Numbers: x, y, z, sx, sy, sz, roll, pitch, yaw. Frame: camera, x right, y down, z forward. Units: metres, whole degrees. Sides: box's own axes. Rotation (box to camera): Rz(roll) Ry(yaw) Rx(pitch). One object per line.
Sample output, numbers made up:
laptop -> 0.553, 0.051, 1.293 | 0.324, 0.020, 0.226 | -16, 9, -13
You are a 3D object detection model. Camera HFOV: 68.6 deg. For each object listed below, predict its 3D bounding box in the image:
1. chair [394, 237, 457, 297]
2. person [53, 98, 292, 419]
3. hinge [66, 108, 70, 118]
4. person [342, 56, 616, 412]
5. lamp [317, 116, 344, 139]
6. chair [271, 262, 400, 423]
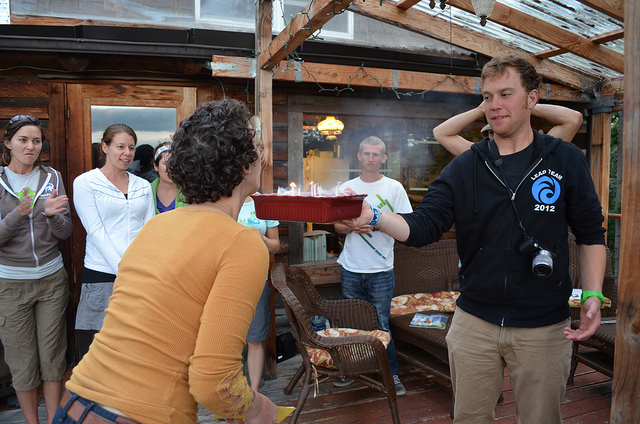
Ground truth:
chair -> 1.290, 0.658, 6.025 | 0.877, 1.056, 0.903 | -2, 0, 16
person -> -0.671, 0.246, 2.264 | 1.019, 1.585, 0.413 | -2, 6, -5
hinge -> -2.692, -1.036, 4.987 | 0.030, 0.080, 0.012 | -4, 7, -27
person -> 1.135, 0.149, 2.989 | 1.201, 2.258, 0.622 | 2, 7, 27
lamp -> 0.173, -1.347, 7.491 | 0.255, 0.302, 0.250 | -2, 6, 0
chair -> 0.178, 1.090, 4.544 | 1.355, 1.557, 1.264 | -3, 9, -2
